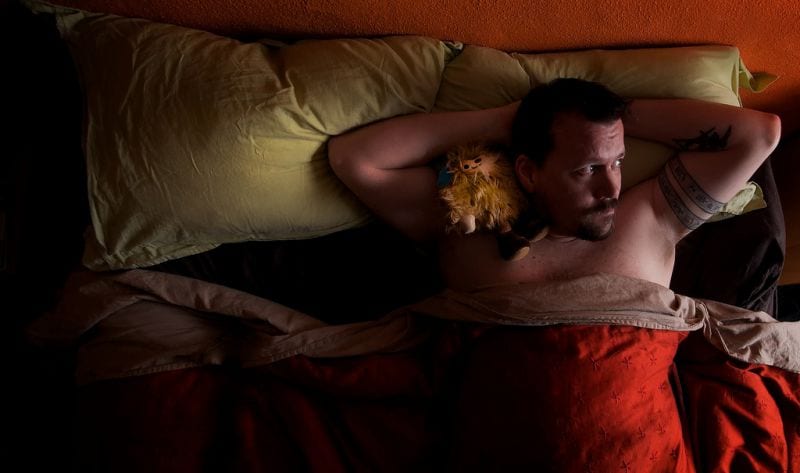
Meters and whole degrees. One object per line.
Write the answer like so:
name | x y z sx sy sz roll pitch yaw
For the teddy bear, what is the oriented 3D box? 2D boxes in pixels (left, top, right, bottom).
teddy bear | 0.315 -0.107 2.203 0.292 0.367 0.394 2 18 42

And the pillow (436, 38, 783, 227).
pillow | 0.669 -0.449 2.473 0.961 0.598 0.214 3 -20 -2

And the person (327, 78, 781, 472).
person | 0.569 0.155 2.505 1.345 1.332 0.386 -3 -7 -1
